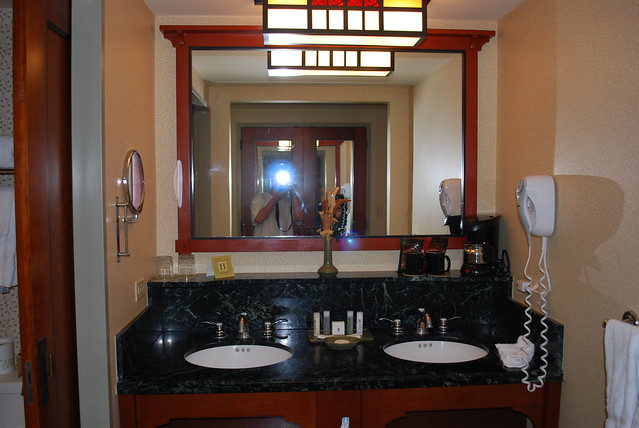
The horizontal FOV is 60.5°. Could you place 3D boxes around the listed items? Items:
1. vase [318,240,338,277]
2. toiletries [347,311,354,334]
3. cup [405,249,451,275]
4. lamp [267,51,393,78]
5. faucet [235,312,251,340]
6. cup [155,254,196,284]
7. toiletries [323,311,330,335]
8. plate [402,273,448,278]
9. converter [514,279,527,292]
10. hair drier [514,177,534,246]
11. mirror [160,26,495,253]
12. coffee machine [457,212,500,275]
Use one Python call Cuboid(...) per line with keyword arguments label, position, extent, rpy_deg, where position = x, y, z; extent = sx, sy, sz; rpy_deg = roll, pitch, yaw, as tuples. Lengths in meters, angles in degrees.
Cuboid(label="vase", position=(0.052, 0.283, 3.624), extent=(0.123, 0.251, 0.145), rpy_deg=(0, 2, 13))
Cuboid(label="toiletries", position=(0.199, 0.694, 3.568), extent=(0.054, 0.144, 0.143), rpy_deg=(-1, 2, 3))
Cuboid(label="cup", position=(0.704, 0.319, 3.600), extent=(0.273, 0.135, 0.148), rpy_deg=(0, 0, 7))
Cuboid(label="lamp", position=(0.071, -0.975, 3.513), extent=(0.833, 0.150, 0.289), rpy_deg=(-1, 2, 2))
Cuboid(label="faucet", position=(-0.487, 0.718, 3.512), extent=(0.080, 0.140, 0.150), rpy_deg=(-1, 2, -8))
Cuboid(label="cup", position=(-0.950, 0.362, 3.592), extent=(0.225, 0.130, 0.160), rpy_deg=(1, -5, -8))
Cuboid(label="toiletries", position=(0.044, 0.691, 3.532), extent=(0.046, 0.147, 0.122), rpy_deg=(-1, 2, 1))
Cuboid(label="plate", position=(0.697, 0.408, 3.605), extent=(0.296, 0.019, 0.084), rpy_deg=(-1, 2, 5))
Cuboid(label="converter", position=(1.249, 0.446, 3.433), extent=(0.072, 0.078, 0.106), rpy_deg=(1, -1, 15))
Cuboid(label="hair drier", position=(1.232, -0.021, 3.244), extent=(0.103, 0.386, 0.105), rpy_deg=(-1, 2, -13))
Cuboid(label="mirror", position=(-0.056, -0.501, 3.630), extent=(1.540, 1.045, 0.103), rpy_deg=(0, -3, -4))
Cuboid(label="coffee machine", position=(1.050, 0.210, 3.584), extent=(0.374, 0.445, 0.264), rpy_deg=(0, 1, -2))
